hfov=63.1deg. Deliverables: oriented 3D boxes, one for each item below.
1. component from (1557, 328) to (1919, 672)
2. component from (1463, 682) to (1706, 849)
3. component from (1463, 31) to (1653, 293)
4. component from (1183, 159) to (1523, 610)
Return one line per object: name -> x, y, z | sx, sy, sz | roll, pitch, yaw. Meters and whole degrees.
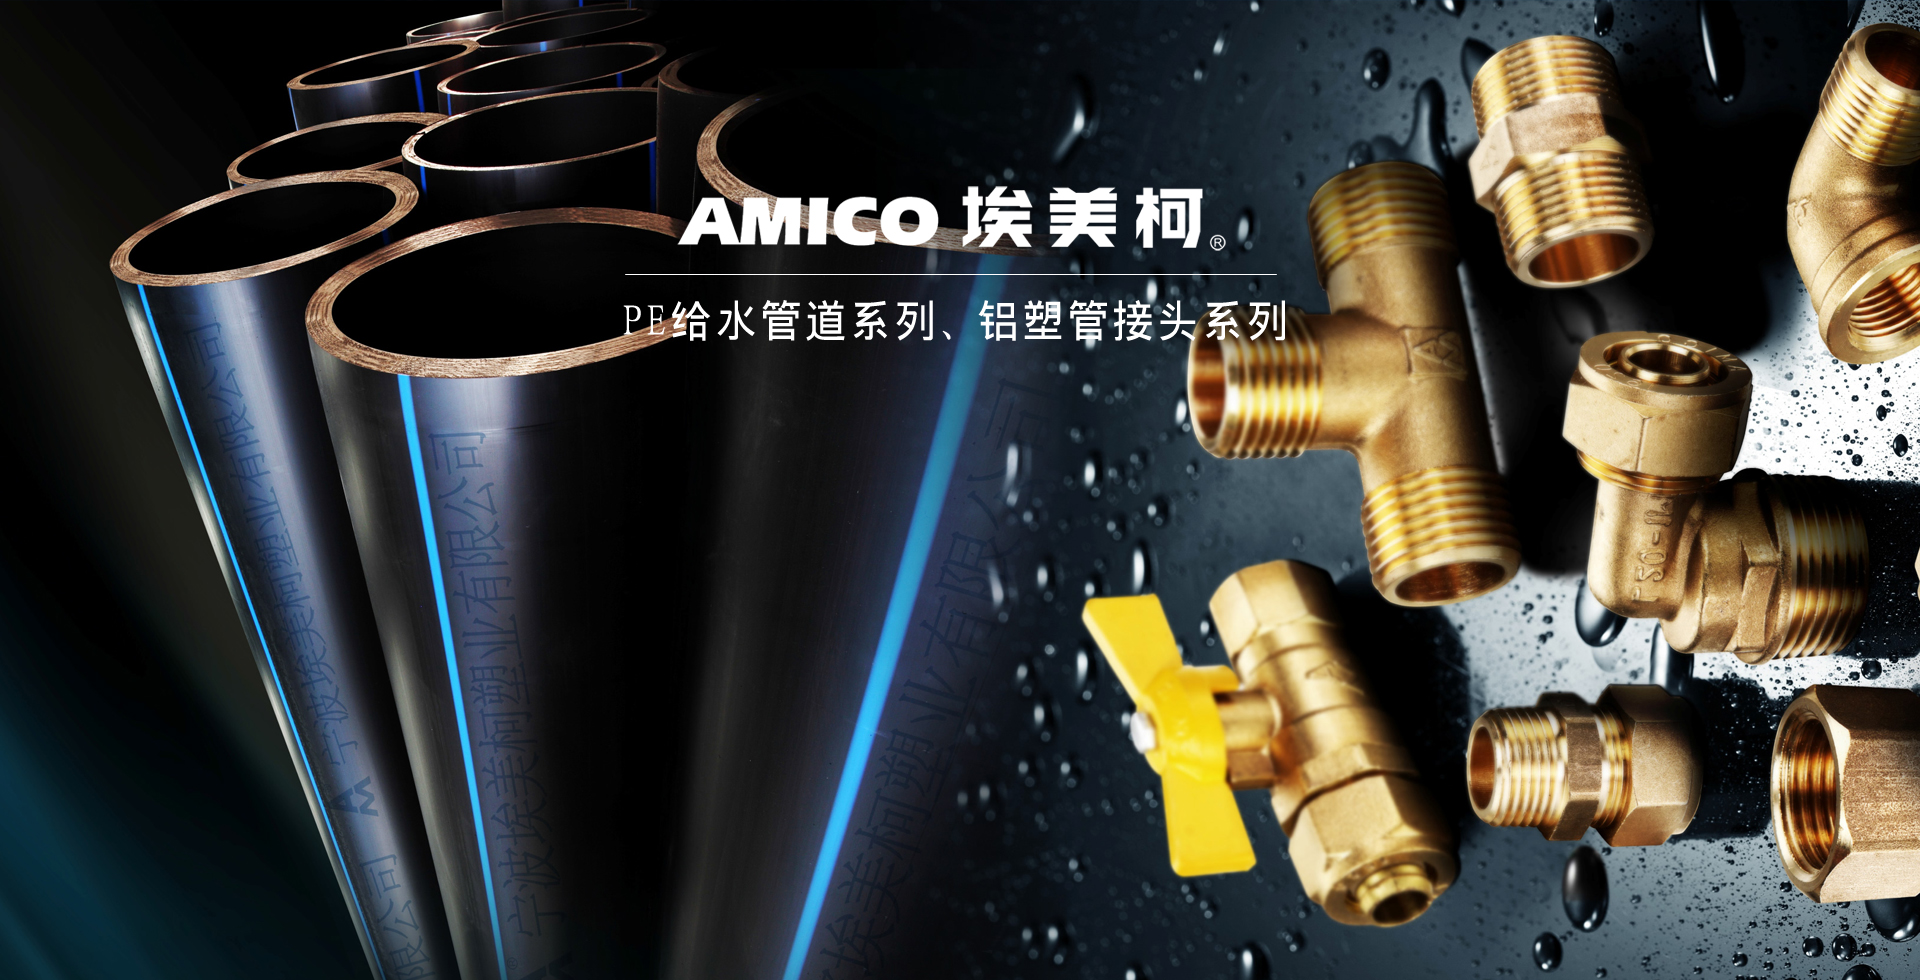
component -> 0.651, 0.031, 1.381 | 0.283, 0.231, 0.157 | 4, 15, -1
component -> 0.558, 0.259, 1.436 | 0.217, 0.138, 0.133 | 3, 39, -16
component -> 0.516, -0.273, 1.342 | 0.151, 0.216, 0.092 | 3, 21, 12
component -> 0.348, -0.093, 1.389 | 0.284, 0.372, 0.179 | 1, 21, 7
